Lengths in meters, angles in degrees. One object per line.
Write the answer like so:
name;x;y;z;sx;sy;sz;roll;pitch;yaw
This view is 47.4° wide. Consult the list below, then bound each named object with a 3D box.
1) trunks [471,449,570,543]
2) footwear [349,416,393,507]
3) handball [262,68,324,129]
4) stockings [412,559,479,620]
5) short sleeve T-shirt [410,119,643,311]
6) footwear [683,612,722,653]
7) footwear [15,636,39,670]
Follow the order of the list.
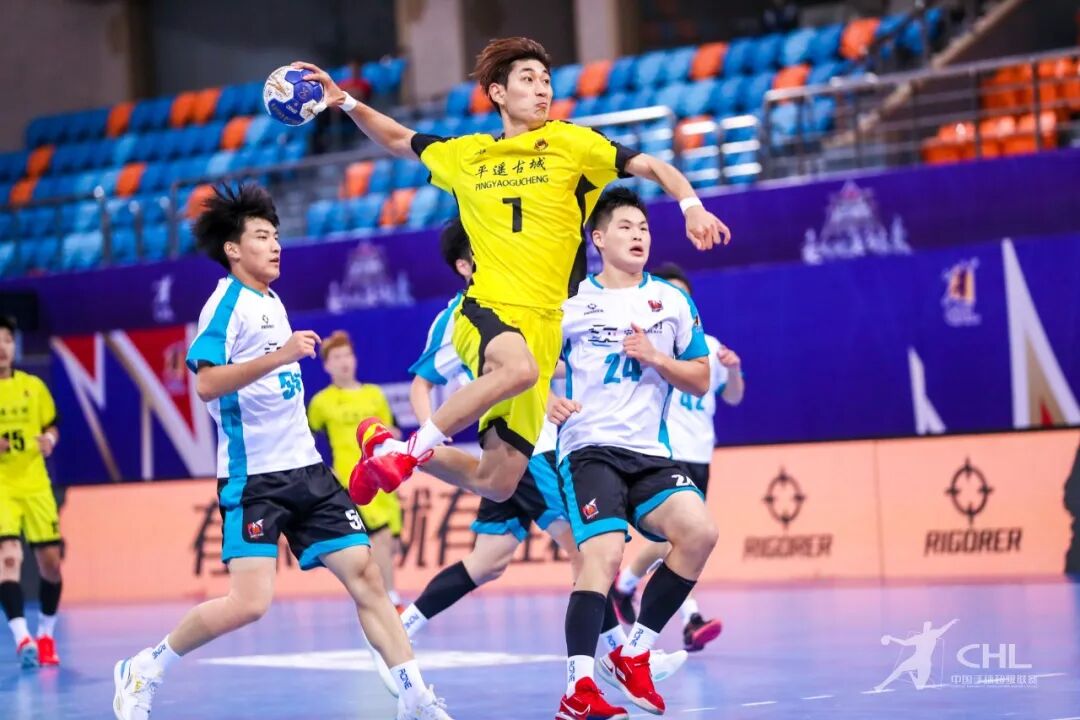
trunks;-0.140;1.062;9.174;1.014;0.900;0.569;1;-8;-7
footwear;-1.128;0.708;8.210;0.231;0.639;0.263;3;11;-40
handball;-1.758;-1.852;8.764;0.431;0.307;0.332;0;-30;4
stockings;-0.706;1.694;9.146;0.555;0.290;0.232;-35;-14;-3
short sleeve T-shirt;-0.068;-1.024;8.988;2.588;1.586;0.660;0;-4;13
footwear;1.295;2.177;9.752;0.161;0.185;0.443;16;-46;-33
footwear;-4.316;2.449;10.283;0.109;0.134;0.312;-30;-20;-31
